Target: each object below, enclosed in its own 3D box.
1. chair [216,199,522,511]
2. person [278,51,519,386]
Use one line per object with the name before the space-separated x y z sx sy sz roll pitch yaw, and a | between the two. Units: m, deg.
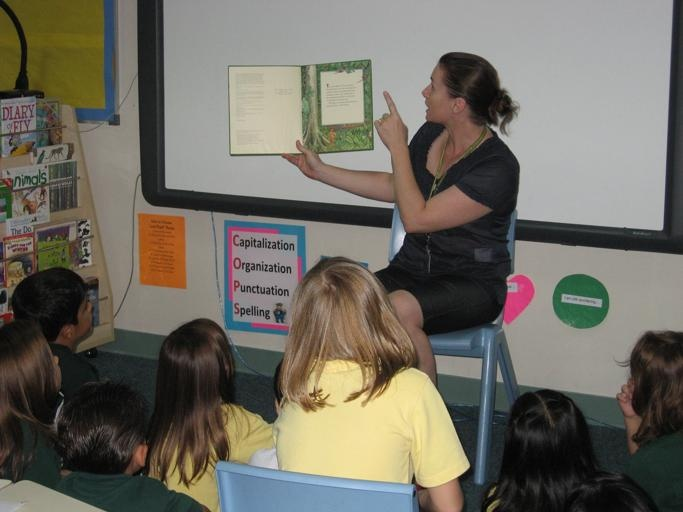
chair | 0.154 0.388 2.572 0.780 1.549 0.967 0 -5 22
person | 0.227 -0.021 2.441 1.071 1.643 0.709 1 12 6
